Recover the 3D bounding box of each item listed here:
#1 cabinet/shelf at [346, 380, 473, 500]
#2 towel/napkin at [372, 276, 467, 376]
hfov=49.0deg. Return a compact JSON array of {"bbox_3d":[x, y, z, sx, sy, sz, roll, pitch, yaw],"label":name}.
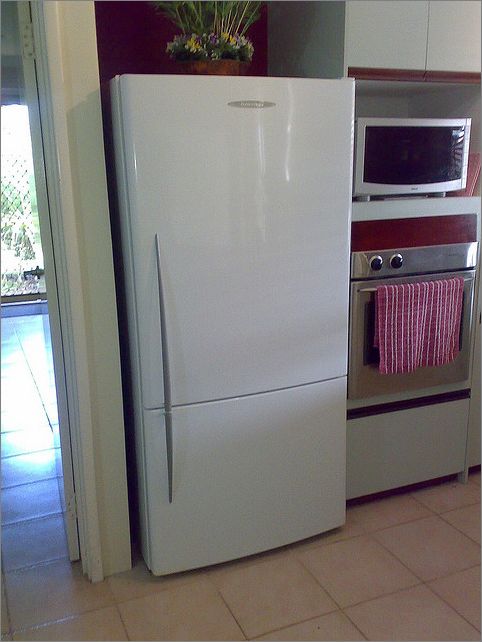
[{"bbox_3d":[0.639,0.486,2.151,0.528,0.425,0.374,-8,20,-19],"label":"cabinet/shelf"},{"bbox_3d":[0.630,0.009,1.906,0.288,0.282,0.042,-13,22,-21],"label":"towel/napkin"}]
